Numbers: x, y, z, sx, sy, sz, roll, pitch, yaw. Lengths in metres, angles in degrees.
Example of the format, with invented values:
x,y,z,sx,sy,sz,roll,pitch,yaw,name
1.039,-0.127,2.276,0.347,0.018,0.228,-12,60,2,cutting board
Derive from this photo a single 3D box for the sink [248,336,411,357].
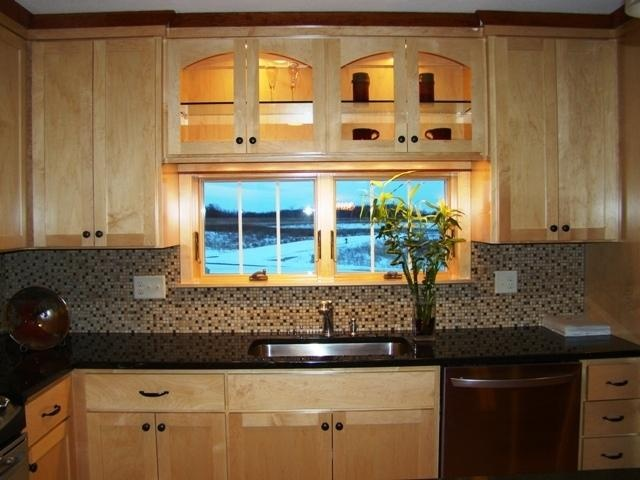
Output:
x,y,z,sx,sy,sz,roll,pitch,yaw,name
0.062,0.681,3.874,1.001,0.120,0.216,-1,-2,3,sink

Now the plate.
x,y,z,sx,sy,sz,roll,pitch,yaw,name
-1.672,0.467,3.611,0.360,0.370,0.252,-1,-8,-15,plate

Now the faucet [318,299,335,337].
x,y,z,sx,sy,sz,roll,pitch,yaw,name
0.043,0.514,4.015,0.093,0.230,0.172,-1,-2,1,faucet

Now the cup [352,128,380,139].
x,y,z,sx,sy,sz,roll,pitch,yaw,name
0.277,-0.649,3.748,0.125,0.056,0.078,1,-2,-4,cup

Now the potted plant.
x,y,z,sx,sy,sz,roll,pitch,yaw,name
0.613,0.078,4.039,0.678,1.071,0.556,-1,-2,9,potted plant

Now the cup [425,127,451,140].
x,y,z,sx,sy,sz,roll,pitch,yaw,name
0.736,-0.651,3.765,0.130,0.083,0.076,-3,-4,9,cup
